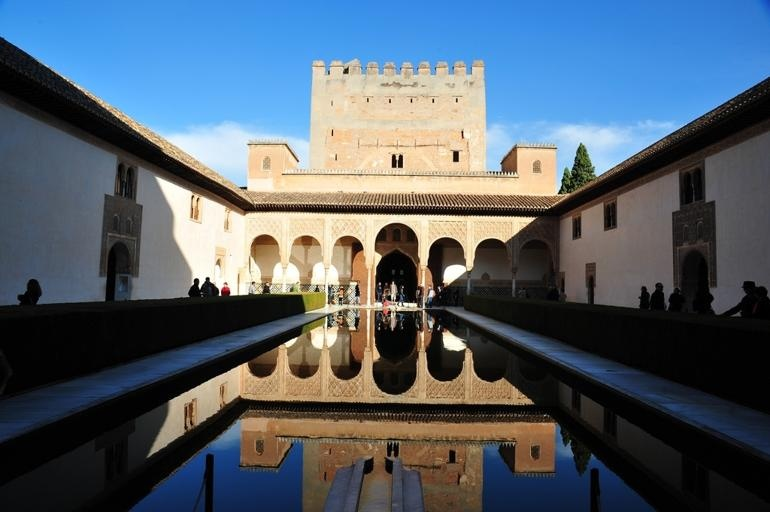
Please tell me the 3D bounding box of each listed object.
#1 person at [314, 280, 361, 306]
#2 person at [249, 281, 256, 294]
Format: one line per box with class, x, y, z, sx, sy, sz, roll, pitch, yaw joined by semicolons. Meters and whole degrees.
person;-1.782;1.556;23.587;1.377;1.020;0.502;1;5;4
person;-5.614;1.294;23.209;0.193;0.482;0.946;-1;6;-11
